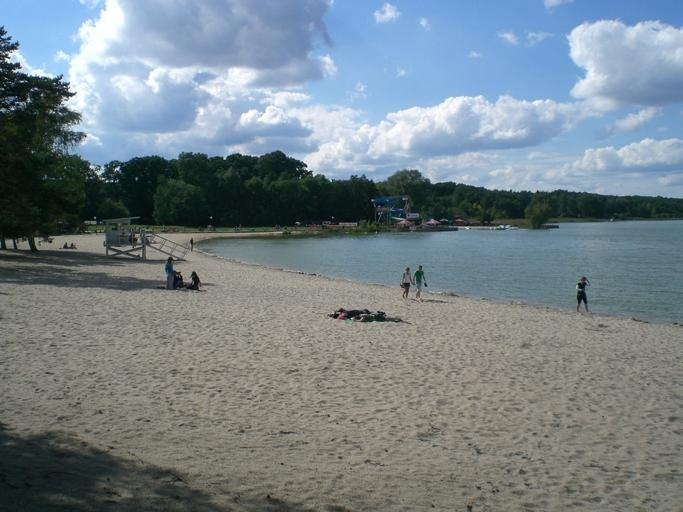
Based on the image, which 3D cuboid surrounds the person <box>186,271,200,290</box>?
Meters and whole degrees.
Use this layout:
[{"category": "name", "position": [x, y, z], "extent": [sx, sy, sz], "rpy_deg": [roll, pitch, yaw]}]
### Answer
[{"category": "person", "position": [-6.170, 1.031, 25.658], "extent": [0.516, 0.656, 1.360], "rpy_deg": [2, 4, -12]}]

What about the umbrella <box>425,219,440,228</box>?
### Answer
[{"category": "umbrella", "position": [21.322, -7.354, 142.407], "extent": [2.615, 1.548, 5.081], "rpy_deg": [4, 4, 13]}]
